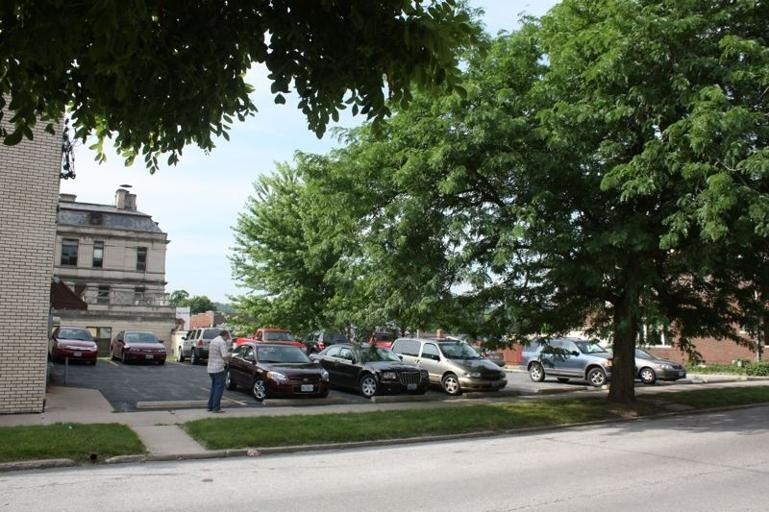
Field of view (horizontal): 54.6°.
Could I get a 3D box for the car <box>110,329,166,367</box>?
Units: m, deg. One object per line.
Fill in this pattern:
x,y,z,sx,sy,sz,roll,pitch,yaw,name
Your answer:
-12.249,4.471,36.529,1.446,1.012,3.088,6,-11,-30,car

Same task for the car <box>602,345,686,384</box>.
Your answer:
11.755,4.954,33.986,1.658,1.230,3.464,6,-11,-41,car

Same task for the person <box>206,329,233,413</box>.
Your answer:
-4.843,3.329,21.629,0.610,2.304,1.346,1,1,-12,person

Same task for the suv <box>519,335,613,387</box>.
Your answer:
7.835,4.798,33.319,2.474,2.285,5.177,5,-11,-38,suv

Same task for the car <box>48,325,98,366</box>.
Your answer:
-14.556,3.976,34.491,2.198,1.524,4.223,5,-12,-28,car

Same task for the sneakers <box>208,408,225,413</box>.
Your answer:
-4.807,4.418,21.206,0.449,0.185,0.155,-5,-9,26,sneakers
